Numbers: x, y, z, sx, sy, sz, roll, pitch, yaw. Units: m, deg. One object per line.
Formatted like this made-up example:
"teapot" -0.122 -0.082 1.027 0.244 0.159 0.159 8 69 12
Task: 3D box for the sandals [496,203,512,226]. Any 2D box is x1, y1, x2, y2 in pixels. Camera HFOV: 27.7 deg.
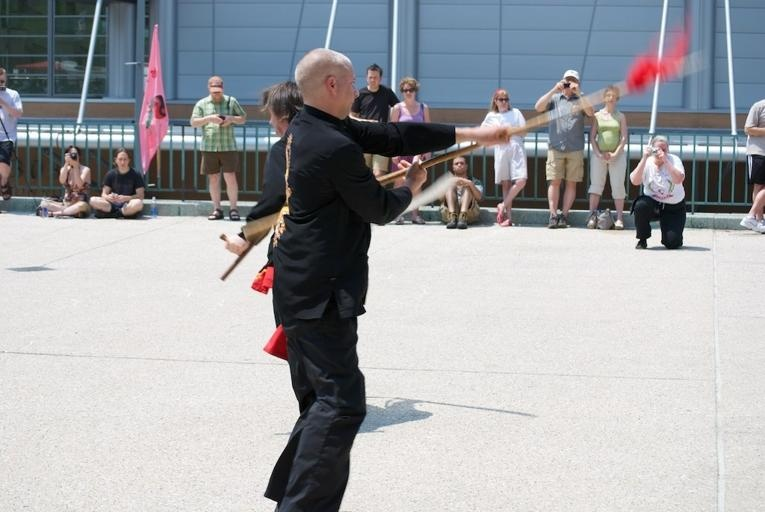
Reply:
"sandals" 1.916 -0.607 23.823 0.095 0.326 0.194 2 8 36

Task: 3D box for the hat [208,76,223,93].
"hat" -2.501 -2.571 23.966 0.210 0.353 0.858 1 3 -7

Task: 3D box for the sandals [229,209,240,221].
"sandals" -2.244 -0.616 24.272 0.193 0.198 0.542 -1 0 -10

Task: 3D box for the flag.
"flag" -3.628 -2.502 25.246 0.458 2.376 0.896 1 3 -7

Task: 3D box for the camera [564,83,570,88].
"camera" 2.481 -2.238 20.577 0.071 0.028 0.091 0 -1 3

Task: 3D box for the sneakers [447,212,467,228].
"sneakers" 1.202 -0.523 23.606 0.262 0.159 0.428 0 2 7

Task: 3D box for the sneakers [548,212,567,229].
"sneakers" 2.725 -0.516 23.634 0.252 0.181 0.485 0 -2 3

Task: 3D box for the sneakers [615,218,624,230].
"sneakers" 3.635 -0.461 23.559 0.167 0.189 0.474 -2 -2 12

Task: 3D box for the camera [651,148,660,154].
"camera" 3.866 -1.450 21.744 0.092 0.081 0.022 2 -1 19

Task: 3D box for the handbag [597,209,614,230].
"handbag" 3.388 -0.538 23.563 0.223 0.299 0.312 1 14 3

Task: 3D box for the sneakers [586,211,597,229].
"sneakers" 3.221 -0.517 23.609 0.101 0.277 0.123 10 -6 4

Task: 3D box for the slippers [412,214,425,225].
"slippers" 0.613 -0.535 24.071 0.105 0.087 0.220 7 10 19

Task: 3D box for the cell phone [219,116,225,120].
"cell phone" -2.368 -2.074 23.631 0.092 0.082 0.116 0 4 -26

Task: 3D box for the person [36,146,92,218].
"person" -4.909 -1.141 24.567 0.794 1.105 0.457 2 3 -2
